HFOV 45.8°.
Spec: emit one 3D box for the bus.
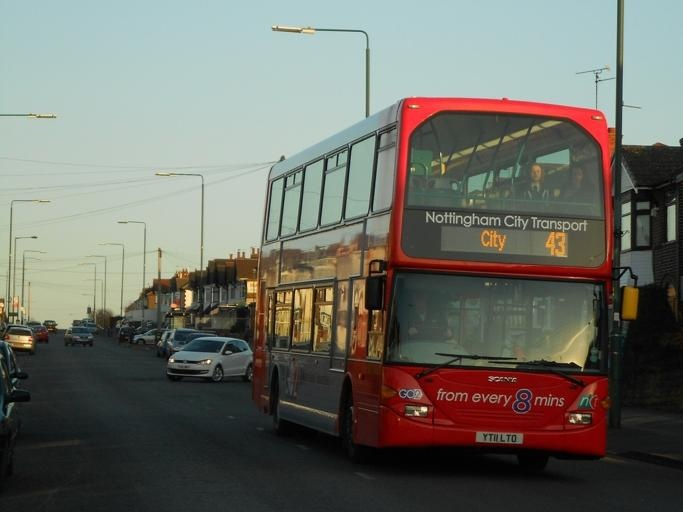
[{"bbox_3d":[1.080,0.649,16.546,3.814,5.416,11.149,2,-3,-14],"label":"bus"}]
